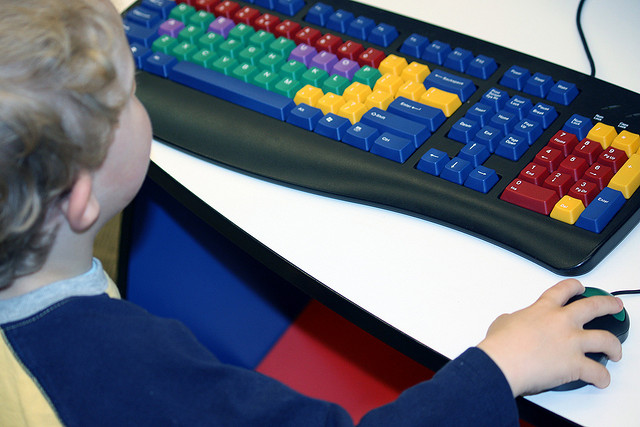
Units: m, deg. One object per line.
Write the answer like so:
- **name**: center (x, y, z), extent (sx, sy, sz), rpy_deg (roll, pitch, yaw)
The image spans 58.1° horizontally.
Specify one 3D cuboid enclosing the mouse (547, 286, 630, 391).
- **mouse**: center (0.299, 0.143, 0.631), extent (0.070, 0.082, 0.097), rpy_deg (19, 34, 5)
